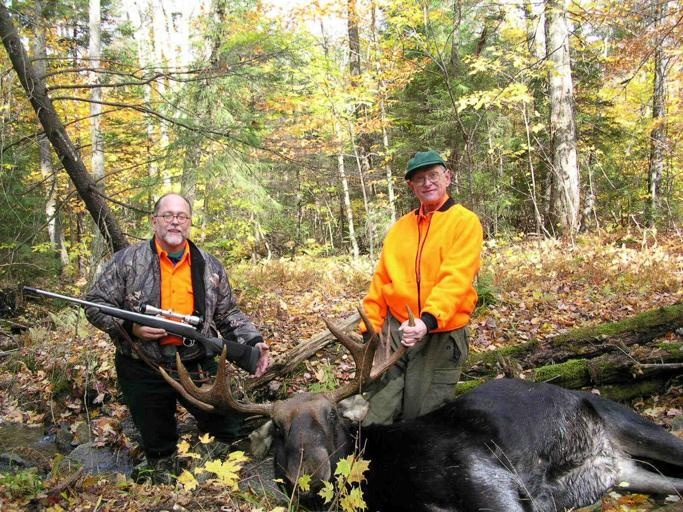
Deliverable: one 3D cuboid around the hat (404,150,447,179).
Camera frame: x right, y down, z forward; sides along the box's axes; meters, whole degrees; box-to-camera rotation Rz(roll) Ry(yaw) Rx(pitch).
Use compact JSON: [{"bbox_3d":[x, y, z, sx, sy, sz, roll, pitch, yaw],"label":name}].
[{"bbox_3d":[1.083,-1.155,7.350,0.353,0.220,0.462,-27,-14,37],"label":"hat"}]
